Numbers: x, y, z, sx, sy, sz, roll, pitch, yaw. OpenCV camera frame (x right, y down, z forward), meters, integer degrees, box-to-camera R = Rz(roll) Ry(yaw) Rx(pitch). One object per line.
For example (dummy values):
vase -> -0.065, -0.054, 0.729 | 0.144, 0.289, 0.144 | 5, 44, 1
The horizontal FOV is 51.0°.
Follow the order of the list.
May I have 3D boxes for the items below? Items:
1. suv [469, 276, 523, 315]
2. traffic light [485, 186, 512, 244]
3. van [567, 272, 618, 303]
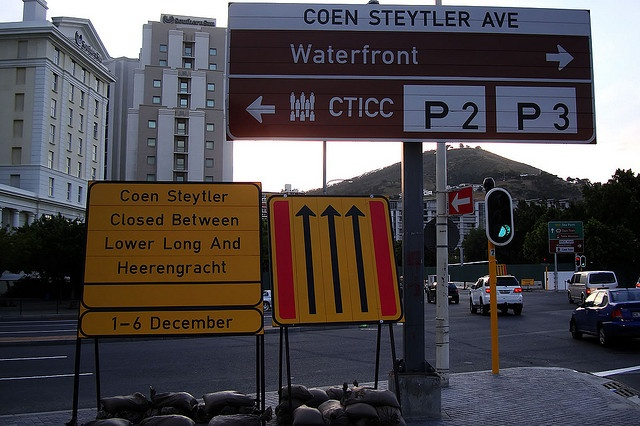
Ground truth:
suv -> 9.672, 4.514, 37.021 | 2.202, 2.163, 4.696 | -2, -5, 2
traffic light -> 4.543, 0.064, 16.950 | 0.648, 1.455, 0.428 | -1, -5, 13
van -> 16.598, 4.529, 40.957 | 2.012, 1.990, 3.758 | -2, -5, 3
